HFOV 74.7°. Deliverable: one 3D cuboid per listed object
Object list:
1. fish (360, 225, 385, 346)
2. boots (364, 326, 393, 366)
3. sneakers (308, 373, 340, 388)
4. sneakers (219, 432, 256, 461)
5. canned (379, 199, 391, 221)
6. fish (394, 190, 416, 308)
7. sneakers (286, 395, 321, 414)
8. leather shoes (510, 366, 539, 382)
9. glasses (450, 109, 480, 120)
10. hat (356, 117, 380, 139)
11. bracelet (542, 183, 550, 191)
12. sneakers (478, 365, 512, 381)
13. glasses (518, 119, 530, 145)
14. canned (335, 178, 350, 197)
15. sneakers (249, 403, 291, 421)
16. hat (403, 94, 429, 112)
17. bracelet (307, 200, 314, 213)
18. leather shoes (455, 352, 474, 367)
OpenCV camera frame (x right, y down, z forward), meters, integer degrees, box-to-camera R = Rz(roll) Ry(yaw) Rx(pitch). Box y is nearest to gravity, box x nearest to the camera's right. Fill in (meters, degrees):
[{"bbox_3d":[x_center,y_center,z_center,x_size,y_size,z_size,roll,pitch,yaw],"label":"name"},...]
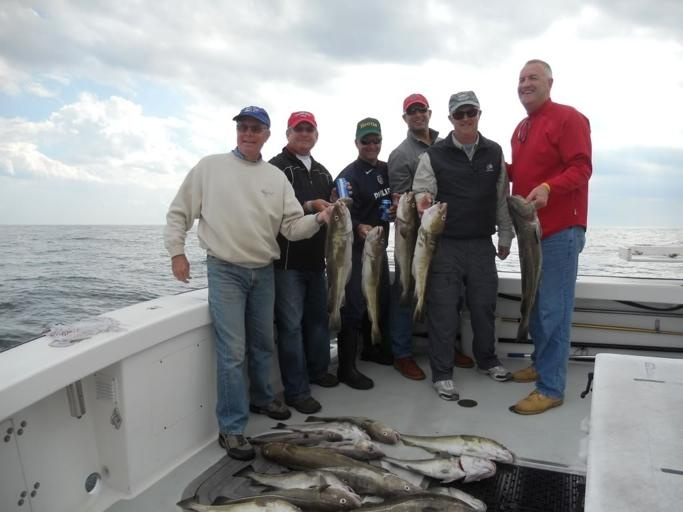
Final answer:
[{"bbox_3d":[0.267,0.227,3.571,0.183,0.910,0.284,5,5,31],"label":"fish"},{"bbox_3d":[0.355,0.900,4.442,0.376,0.393,0.177,0,-2,39],"label":"boots"},{"bbox_3d":[-0.153,1.079,3.883,0.193,0.079,0.116,-3,1,7],"label":"sneakers"},{"bbox_3d":[-0.686,1.240,2.974,0.248,0.126,0.114,5,0,35],"label":"sneakers"},{"bbox_3d":[0.385,-0.397,3.938,0.097,0.193,0.168,3,5,3],"label":"canned"},{"bbox_3d":[0.534,-0.060,3.609,0.163,0.901,0.310,6,7,33],"label":"fish"},{"bbox_3d":[-0.296,1.149,3.518,0.222,0.097,0.119,-1,-2,31],"label":"sneakers"},{"bbox_3d":[1.589,1.028,3.910,0.243,0.113,0.094,2,9,-7],"label":"leather shoes"},{"bbox_3d":[0.965,-1.102,3.510,0.191,0.085,0.048,4,6,13],"label":"glasses"},{"bbox_3d":[0.223,-1.105,3.886,0.143,0.120,0.206,-4,14,2],"label":"hat"},{"bbox_3d":[1.445,-0.488,3.179,0.067,0.054,0.028,0,6,-25],"label":"bracelet"},{"bbox_3d":[1.366,1.027,3.962,0.223,0.105,0.104,-2,0,43],"label":"sneakers"},{"bbox_3d":[1.421,-0.978,3.510,0.039,0.162,0.089,9,-2,-11],"label":"glasses"},{"bbox_3d":[0.005,-0.494,3.310,0.086,0.154,0.250,2,5,-4],"label":"canned"},{"bbox_3d":[-0.530,1.183,3.427,0.265,0.125,0.124,-3,-8,15],"label":"sneakers"},{"bbox_3d":[0.688,-1.413,4.149,0.162,0.132,0.281,-8,-16,0],"label":"hat"},{"bbox_3d":[-0.249,-0.384,3.500,0.068,0.070,0.071,19,0,-5],"label":"bracelet"},{"bbox_3d":[1.195,0.985,4.227,0.251,0.123,0.112,-2,1,30],"label":"leather shoes"}]
